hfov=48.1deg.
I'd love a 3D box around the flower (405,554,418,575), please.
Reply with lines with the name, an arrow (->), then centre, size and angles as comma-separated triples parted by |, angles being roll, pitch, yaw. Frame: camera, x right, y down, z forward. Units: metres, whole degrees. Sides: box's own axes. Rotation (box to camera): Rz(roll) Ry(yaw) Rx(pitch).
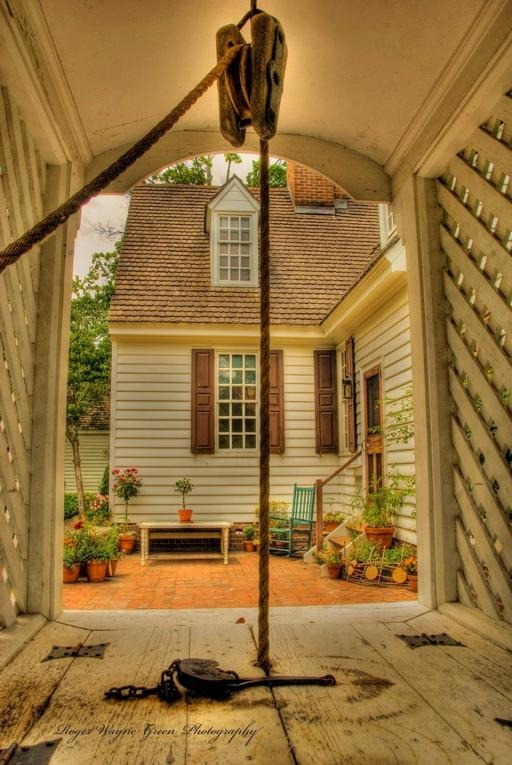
flower -> 1.436, 1.708, 5.367 | 0.097, 0.143, 0.132 | -4, -9, 21

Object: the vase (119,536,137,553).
vase -> -1.808, 2.293, 8.148 | 0.251, 0.211, 0.259 | 0, -21, -5

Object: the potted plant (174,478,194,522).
potted plant -> -1.025, 1.643, 8.084 | 0.273, 0.574, 0.777 | 1, -9, -6

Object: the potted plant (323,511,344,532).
potted plant -> 1.080, 1.945, 8.046 | 0.243, 0.231, 0.249 | 2, -21, -5

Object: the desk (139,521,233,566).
desk -> -0.944, 2.121, 7.856 | 1.135, 0.502, 1.398 | 1, -9, -6

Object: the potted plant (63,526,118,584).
potted plant -> -1.755, 1.804, 6.153 | 0.530, 0.555, 0.834 | 1, -9, -8

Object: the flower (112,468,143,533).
flower -> -1.867, 1.634, 8.201 | 0.411, 0.845, 0.408 | 0, -9, -4

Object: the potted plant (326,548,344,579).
potted plant -> 0.835, 1.960, 6.194 | 0.196, 0.222, 0.190 | 11, -28, -12

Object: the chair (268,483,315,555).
chair -> 0.533, 2.030, 8.359 | 0.607, 0.878, 0.609 | 3, -17, -24
